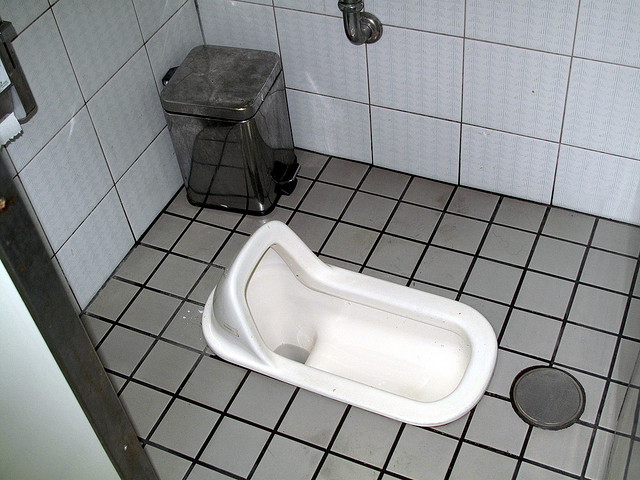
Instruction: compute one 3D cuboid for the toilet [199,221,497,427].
[{"bbox_3d":[0.071,0.294,1.663,0.913,0.570,0.519,11,40,22],"label":"toilet"}]
